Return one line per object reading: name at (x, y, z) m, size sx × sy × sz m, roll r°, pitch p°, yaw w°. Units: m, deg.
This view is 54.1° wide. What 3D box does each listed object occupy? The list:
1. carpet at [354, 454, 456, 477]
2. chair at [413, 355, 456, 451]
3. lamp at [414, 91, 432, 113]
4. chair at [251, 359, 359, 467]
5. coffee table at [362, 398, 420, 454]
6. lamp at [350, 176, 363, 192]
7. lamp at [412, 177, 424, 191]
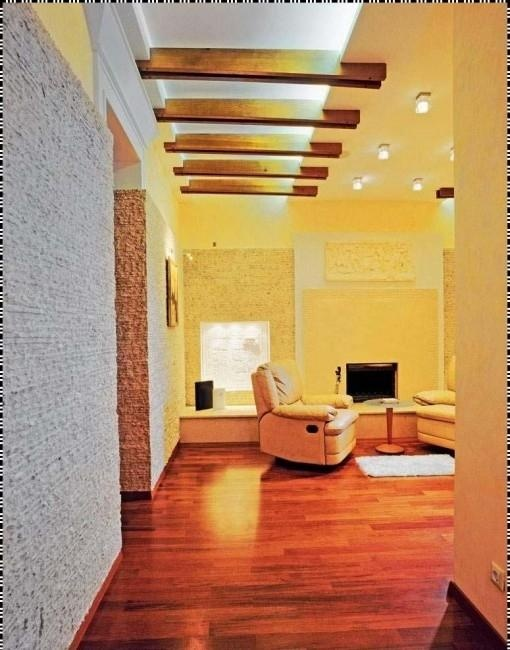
carpet at (1.293, 1.180, 4.214) m, size 0.870 × 0.025 × 0.600 m, roll -1°, pitch 1°, yaw -2°
chair at (1.696, 0.782, 4.746) m, size 0.374 × 0.797 × 0.921 m, roll 0°, pitch 2°, yaw 20°
lamp at (1.073, -1.431, 3.193) m, size 0.090 × 0.186 × 0.105 m, roll 2°, pitch 18°, yaw 6°
chair at (0.427, 0.776, 4.494) m, size 0.827 × 0.845 × 0.891 m, roll -1°, pitch -1°, yaw 10°
coffee table at (1.365, 0.988, 4.941) m, size 0.466 × 0.408 × 0.520 m, roll 0°, pitch -4°, yaw 0°
lamp at (0.995, -1.423, 5.026) m, size 0.120 × 0.184 × 0.120 m, roll 10°, pitch 18°, yaw 38°
lamp at (1.664, -1.434, 5.089) m, size 0.098 × 0.108 × 0.106 m, roll 1°, pitch 0°, yaw 15°
